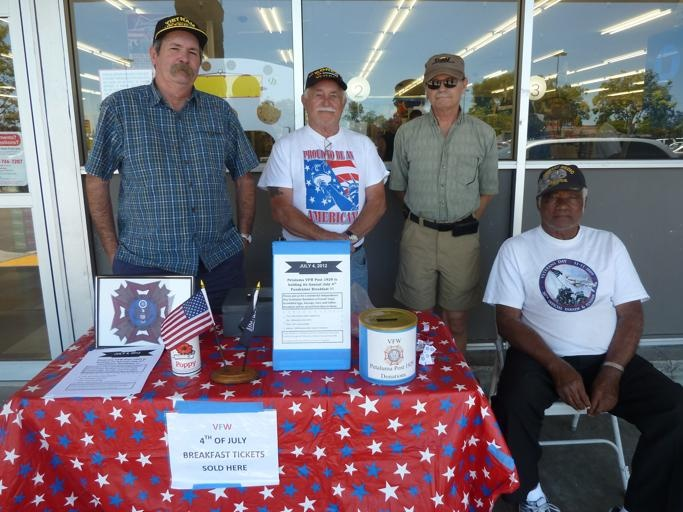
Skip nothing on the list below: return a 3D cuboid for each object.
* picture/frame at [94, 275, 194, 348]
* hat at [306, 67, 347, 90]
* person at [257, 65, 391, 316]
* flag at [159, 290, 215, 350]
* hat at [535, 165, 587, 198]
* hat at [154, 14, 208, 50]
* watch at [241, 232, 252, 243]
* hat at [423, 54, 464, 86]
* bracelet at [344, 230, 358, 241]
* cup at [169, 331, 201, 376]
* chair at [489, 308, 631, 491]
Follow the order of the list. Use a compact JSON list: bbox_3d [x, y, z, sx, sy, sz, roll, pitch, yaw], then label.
[{"bbox_3d":[-0.889,0.252,2.546,0.322,0.234,0.014,0,-3,-3],"label":"picture/frame"},{"bbox_3d":[-0.096,-1.014,3.277,0.171,0.128,0.210,8,17,37],"label":"hat"},{"bbox_3d":[-0.091,-0.097,3.487,0.927,1.949,0.636,0,23,-2],"label":"person"},{"bbox_3d":[-0.658,0.265,2.381,0.232,0.260,0.021,-11,24,-2],"label":"flag"},{"bbox_3d":[1.241,-0.443,3.224,0.245,0.170,0.342,-3,7,28],"label":"hat"},{"bbox_3d":[-0.856,-1.170,3.062,0.263,0.179,0.396,-5,22,-41],"label":"hat"},{"bbox_3d":[-0.552,-0.104,3.304,0.055,0.034,0.055,3,-10,-6],"label":"watch"},{"bbox_3d":[0.661,-1.212,3.681,0.252,0.181,0.151,-1,13,5],"label":"hat"},{"bbox_3d":[0.057,-0.110,3.202,0.069,0.047,0.060,33,-18,-14],"label":"bracelet"},{"bbox_3d":[-0.685,0.403,2.452,0.116,0.189,0.119,4,14,-1],"label":"cup"},{"bbox_3d":[1.380,0.866,3.375,0.462,0.736,0.539,0,-12,17],"label":"chair"}]
